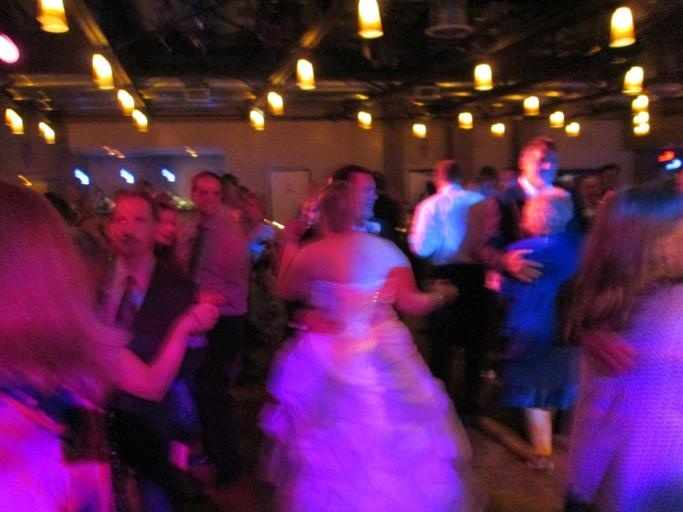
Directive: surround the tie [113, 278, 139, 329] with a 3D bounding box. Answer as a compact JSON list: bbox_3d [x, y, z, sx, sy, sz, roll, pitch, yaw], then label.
[{"bbox_3d":[-0.856,0.196,2.369,0.069,0.075,0.280,31,27,-36],"label":"tie"}]
